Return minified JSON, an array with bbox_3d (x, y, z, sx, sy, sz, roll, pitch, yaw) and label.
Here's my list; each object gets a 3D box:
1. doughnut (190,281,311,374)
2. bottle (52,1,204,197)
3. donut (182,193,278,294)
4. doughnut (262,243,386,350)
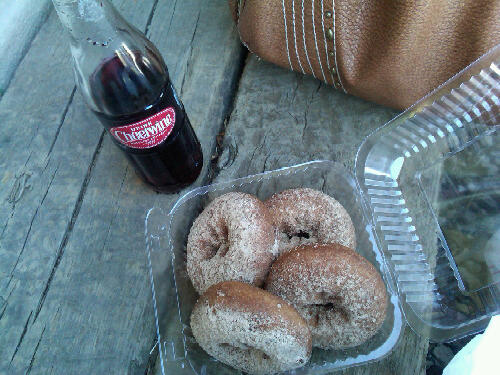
[{"bbox_3d":[0.001,0.263,0.958,0.174,0.194,0.076,6,43,31],"label":"doughnut"},{"bbox_3d":[-0.227,-0.183,0.988,0.216,0.539,0.209,2,36,-1],"label":"bottle"},{"bbox_3d":[-0.054,0.127,1.055,0.195,0.088,0.251,-7,51,12],"label":"donut"},{"bbox_3d":[0.155,0.223,0.986,0.212,0.223,0.082,-38,9,19],"label":"doughnut"}]
